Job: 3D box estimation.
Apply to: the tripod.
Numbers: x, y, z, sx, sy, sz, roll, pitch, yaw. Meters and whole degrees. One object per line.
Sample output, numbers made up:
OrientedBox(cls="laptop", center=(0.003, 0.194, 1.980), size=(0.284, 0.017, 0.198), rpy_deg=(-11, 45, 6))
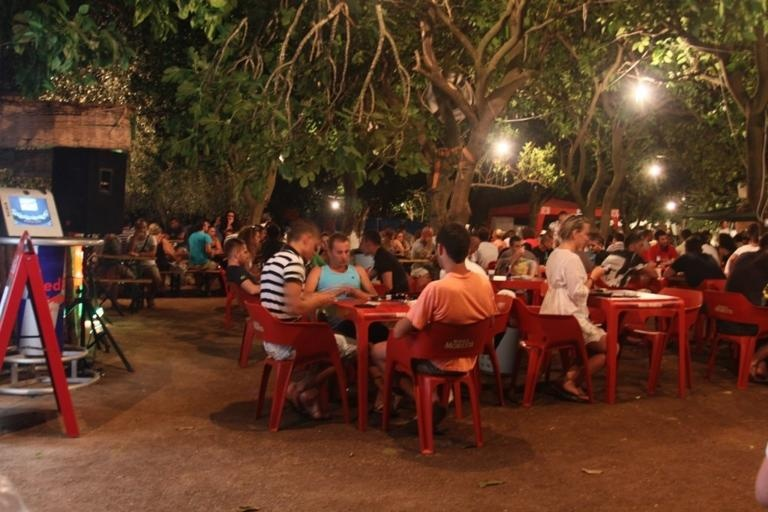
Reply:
OrientedBox(cls="tripod", center=(-4.966, 0.822, 10.174), size=(1.281, 2.381, 0.999), rpy_deg=(1, -6, 4))

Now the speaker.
OrientedBox(cls="speaker", center=(-4.733, -1.059, 9.392), size=(0.962, 1.444, 0.984), rpy_deg=(1, 6, -19))
